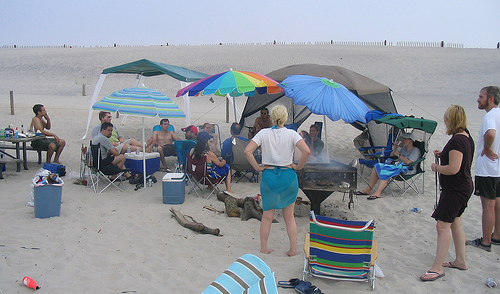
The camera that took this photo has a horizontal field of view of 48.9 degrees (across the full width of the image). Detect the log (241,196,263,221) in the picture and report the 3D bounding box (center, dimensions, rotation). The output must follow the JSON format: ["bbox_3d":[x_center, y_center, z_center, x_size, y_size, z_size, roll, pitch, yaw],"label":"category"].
[{"bbox_3d":[0.057,1.716,15.243,0.653,0.619,0.573,-2,-15,2],"label":"log"}]

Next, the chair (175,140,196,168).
[{"bbox_3d":[-2.013,0.096,16.771,0.738,0.806,0.784,2,17,0],"label":"chair"}]

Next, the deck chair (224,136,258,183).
[{"bbox_3d":[-0.219,0.365,16.688,0.983,1.401,0.737,3,8,17],"label":"deck chair"}]

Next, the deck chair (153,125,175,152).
[{"bbox_3d":[-2.848,-0.334,18.090,0.746,0.894,0.732,-1,5,-16],"label":"deck chair"}]

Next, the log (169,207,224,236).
[{"bbox_3d":[-1.441,1.987,14.493,1.536,0.535,0.311,4,8,25],"label":"log"}]

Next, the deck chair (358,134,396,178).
[{"bbox_3d":[4.008,0.234,17.448,1.301,1.592,0.695,2,0,-3],"label":"deck chair"}]

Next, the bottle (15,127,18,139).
[{"bbox_3d":[-7.014,-0.389,16.553,0.070,0.249,0.186,-3,8,-25],"label":"bottle"}]

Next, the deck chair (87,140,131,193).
[{"bbox_3d":[-4.171,0.542,15.987,1.101,1.467,0.656,-1,8,-13],"label":"deck chair"}]

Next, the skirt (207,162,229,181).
[{"bbox_3d":[-0.908,0.666,15.803,0.375,0.587,0.487,0,42,-29],"label":"skirt"}]

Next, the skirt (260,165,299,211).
[{"bbox_3d":[0.732,1.011,13.567,0.908,1.150,0.148,1,7,-1],"label":"skirt"}]

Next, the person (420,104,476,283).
[{"bbox_3d":[4.879,1.117,13.316,1.147,4.229,0.428,-1,8,-11],"label":"person"}]

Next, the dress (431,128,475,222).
[{"bbox_3d":[4.941,0.667,13.238,0.975,2.234,0.370,0,8,-11],"label":"dress"}]

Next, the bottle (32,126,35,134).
[{"bbox_3d":[-6.722,-0.551,17.112,0.078,0.197,0.243,-2,8,-21],"label":"bottle"}]

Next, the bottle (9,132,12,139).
[{"bbox_3d":[-7.193,-0.352,16.551,0.078,0.171,0.253,-2,8,-24],"label":"bottle"}]

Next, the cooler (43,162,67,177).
[{"bbox_3d":[-5.866,0.661,16.452,0.493,0.187,0.431,7,9,2],"label":"cooler"}]

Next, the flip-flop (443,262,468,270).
[{"bbox_3d":[5.149,2.928,13.626,0.403,0.098,0.151,8,1,12],"label":"flip-flop"}]

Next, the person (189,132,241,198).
[{"bbox_3d":[-1.113,0.421,15.670,1.176,1.695,0.270,0,8,-11],"label":"person"}]

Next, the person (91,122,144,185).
[{"bbox_3d":[-3.907,0.216,16.019,1.240,1.844,0.732,-6,10,-44],"label":"person"}]

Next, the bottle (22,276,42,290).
[{"bbox_3d":[-5.078,3.145,12.814,0.432,0.215,0.172,30,-8,14],"label":"bottle"}]

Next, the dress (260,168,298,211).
[{"bbox_3d":[0.718,1.013,13.812,0.679,1.094,1.020,1,0,-10],"label":"dress"}]

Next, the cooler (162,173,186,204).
[{"bbox_3d":[-2.135,1.151,15.491,0.613,0.811,0.357,0,7,-8],"label":"cooler"}]

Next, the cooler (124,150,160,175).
[{"bbox_3d":[-3.190,0.454,16.434,1.092,0.841,0.662,-1,0,9],"label":"cooler"}]

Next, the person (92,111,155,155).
[{"bbox_3d":[-3.870,-0.410,17.093,1.973,1.273,0.940,7,16,22],"label":"person"}]
